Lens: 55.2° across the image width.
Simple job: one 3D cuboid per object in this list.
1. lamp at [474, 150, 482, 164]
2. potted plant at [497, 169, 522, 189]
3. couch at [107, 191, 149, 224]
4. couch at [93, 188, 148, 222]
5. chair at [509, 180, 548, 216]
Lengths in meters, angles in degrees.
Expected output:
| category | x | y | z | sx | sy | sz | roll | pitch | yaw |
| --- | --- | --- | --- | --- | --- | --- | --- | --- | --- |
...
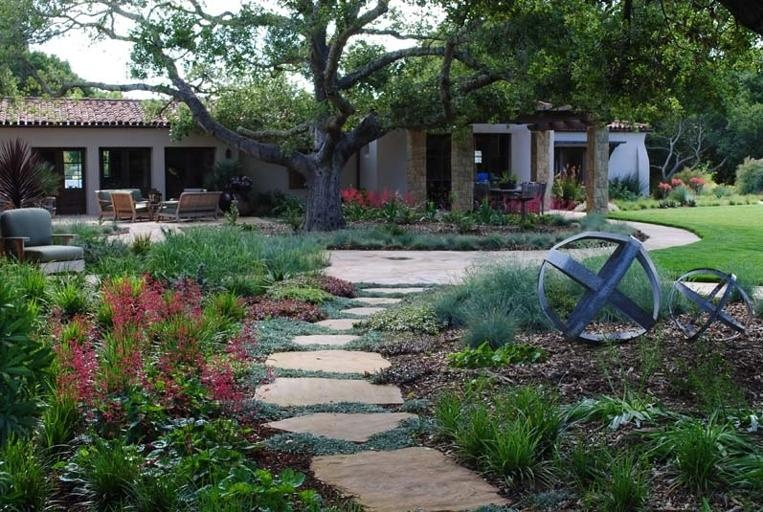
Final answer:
| category | x | y | z | sx | sy | sz | roll | pitch | yaw |
| --- | --- | --- | --- | --- | --- | --- | --- | --- | --- |
| lamp | 3.106 | -3.182 | 23.644 | 0.138 | 0.439 | 0.297 | 12 | 18 | 41 |
| potted plant | 3.820 | -2.210 | 21.821 | 0.731 | 0.575 | 0.746 | 0 | 5 | 11 |
| couch | -7.089 | -1.397 | 20.649 | 1.010 | 1.028 | 1.702 | -6 | 15 | -20 |
| couch | -7.235 | -1.457 | 20.860 | 1.180 | 1.053 | 1.591 | -2 | 1 | -40 |
| chair | 3.998 | -1.593 | 19.972 | 0.845 | 1.057 | 2.017 | 2 | 14 | 10 |
